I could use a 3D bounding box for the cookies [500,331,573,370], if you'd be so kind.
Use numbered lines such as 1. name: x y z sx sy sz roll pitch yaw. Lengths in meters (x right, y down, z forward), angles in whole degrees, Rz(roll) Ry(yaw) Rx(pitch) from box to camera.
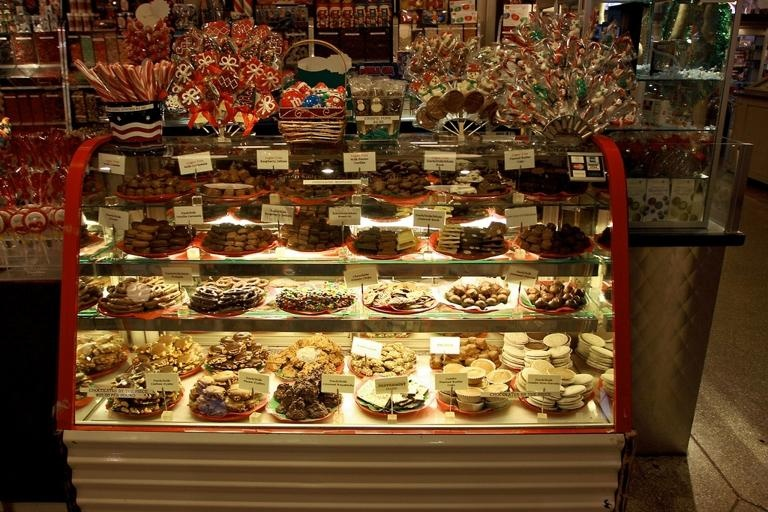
1. cookies: 0.880 0.561 3.232 0.325 0.116 0.290 1 9 6

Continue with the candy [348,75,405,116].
1. candy: -0.046 -0.844 2.964 0.268 0.105 0.233 1 28 -2

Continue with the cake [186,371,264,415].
1. cake: -0.873 0.760 3.040 0.327 0.148 0.300 11 22 36

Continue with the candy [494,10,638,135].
1. candy: 0.990 -0.985 3.027 0.735 0.670 0.345 2 20 12

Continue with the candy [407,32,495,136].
1. candy: 0.391 -1.039 3.344 0.517 0.589 0.658 -1 19 3

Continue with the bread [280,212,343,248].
1. bread: -0.404 -0.134 3.017 0.293 0.075 0.194 7 46 4

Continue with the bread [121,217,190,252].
1. bread: -1.236 -0.104 3.012 0.346 0.186 0.116 -1 20 4

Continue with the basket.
1. basket: -0.364 -0.877 2.927 0.412 0.472 0.307 -1 38 0

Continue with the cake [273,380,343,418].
1. cake: -0.426 0.776 3.009 0.372 0.155 0.201 -4 19 -6

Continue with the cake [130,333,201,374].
1. cake: -1.262 0.592 3.286 0.301 0.077 0.255 3 11 3

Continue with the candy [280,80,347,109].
1. candy: -0.377 -0.836 2.927 0.281 0.084 0.188 5 27 5

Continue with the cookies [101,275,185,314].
1. cookies: -1.330 0.221 2.957 0.300 0.072 0.251 2 16 2

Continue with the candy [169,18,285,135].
1. candy: -0.893 -0.998 3.125 0.673 0.634 0.267 -4 20 -6

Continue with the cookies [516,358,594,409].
1. cookies: 0.944 0.702 3.032 0.302 0.103 0.266 2 18 1

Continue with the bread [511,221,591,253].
1. bread: 0.919 -0.088 3.016 0.377 0.150 0.114 2 20 11

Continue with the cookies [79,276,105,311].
1. cookies: -1.538 0.199 2.917 0.039 0.140 0.166 8 3 42

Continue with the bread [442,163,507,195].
1. bread: 0.490 -0.402 2.980 0.356 0.164 0.051 0 21 4
